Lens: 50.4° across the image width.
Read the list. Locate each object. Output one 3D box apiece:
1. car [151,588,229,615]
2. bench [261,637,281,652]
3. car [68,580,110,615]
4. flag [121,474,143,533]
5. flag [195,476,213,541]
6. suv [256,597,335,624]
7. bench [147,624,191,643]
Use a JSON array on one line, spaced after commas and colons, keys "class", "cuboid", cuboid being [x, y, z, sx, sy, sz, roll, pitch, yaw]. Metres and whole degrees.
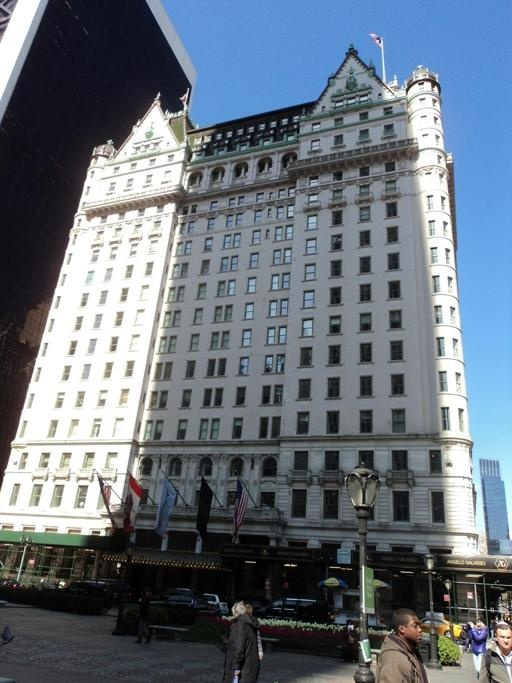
[{"class": "car", "cuboid": [-3.738, 15.476, 32.472, 3.097, 1.095, 5.748, -14, -31, 38]}, {"class": "bench", "cuboid": [0.601, 12.118, 21.708, 0.698, 0.549, 2.140, 4, -24, 5]}, {"class": "car", "cuboid": [-10.315, 15.869, 33.891, 3.127, 1.570, 8.215, 12, -25, -13]}, {"class": "flag", "cuboid": [-10.910, 14.502, 48.010, 0.448, 5.832, 6.041, 3, -6, -24]}, {"class": "flag", "cuboid": [-3.801, 11.930, 38.989, 1.008, 4.305, 0.528, 15, -24, -38]}, {"class": "suv", "cuboid": [2.267, 14.832, 30.180, 3.964, 1.130, 2.204, 3, -24, 6]}, {"class": "bench", "cuboid": [-3.511, 12.047, 22.452, 1.587, 0.502, 1.165, 8, -24, -4]}]
